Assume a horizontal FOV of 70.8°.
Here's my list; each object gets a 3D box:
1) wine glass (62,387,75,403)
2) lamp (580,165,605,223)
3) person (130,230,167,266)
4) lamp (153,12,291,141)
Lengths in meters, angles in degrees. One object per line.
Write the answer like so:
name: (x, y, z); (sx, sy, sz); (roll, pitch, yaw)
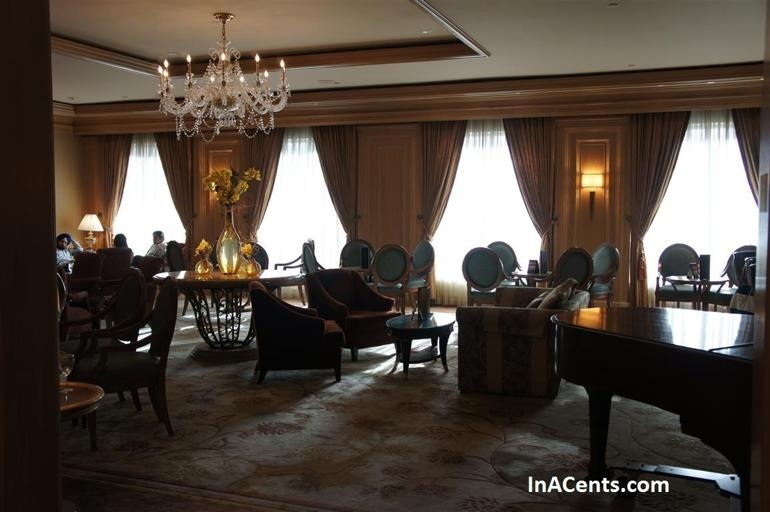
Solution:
wine glass: (-1.800, 0.787, 3.079); (0.065, 0.071, 0.063); (-1, -3, 2)
lamp: (3.392, -1.017, 8.857); (0.399, 0.864, 0.109); (2, 6, 24)
person: (-4.151, -0.148, 9.617); (0.495, 0.903, 0.637); (2, -2, -15)
lamp: (-2.123, -2.158, 7.314); (1.816, 1.621, 1.849); (0, -1, -1)
